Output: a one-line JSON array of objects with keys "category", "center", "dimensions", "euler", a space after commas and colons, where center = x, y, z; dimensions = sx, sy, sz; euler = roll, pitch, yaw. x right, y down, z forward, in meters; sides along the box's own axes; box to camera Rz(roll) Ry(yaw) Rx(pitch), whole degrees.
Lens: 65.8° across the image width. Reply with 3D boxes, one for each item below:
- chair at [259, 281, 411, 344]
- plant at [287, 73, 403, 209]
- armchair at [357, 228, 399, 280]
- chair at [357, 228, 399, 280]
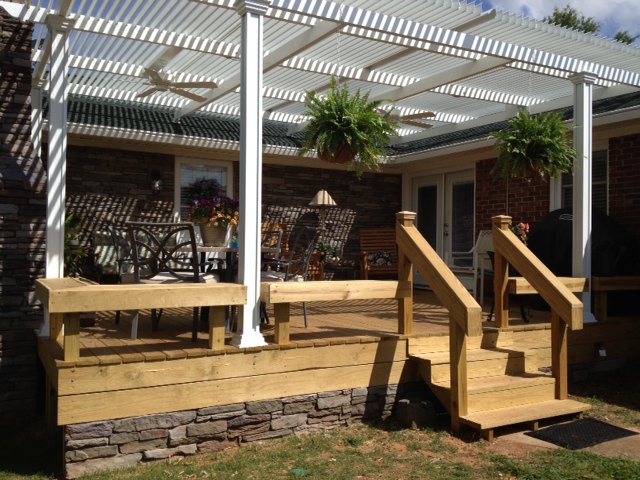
[{"category": "chair", "center": [0.081, 0.624, 4.706], "dimensions": [1.420, 0.536, 0.582], "euler": [-1, 1, -24]}, {"category": "plant", "center": [0.268, -1.245, 5.207], "dimensions": [0.996, 1.017, 0.490], "euler": [-1, 1, -2]}, {"category": "armchair", "center": [1.194, 0.233, 9.873], "dimensions": [1.058, 1.180, 0.987], "euler": [0, -4, -4]}, {"category": "chair", "center": [1.214, 0.199, 9.543], "dimensions": [1.058, 1.180, 0.987], "euler": [0, -4, -4]}]
